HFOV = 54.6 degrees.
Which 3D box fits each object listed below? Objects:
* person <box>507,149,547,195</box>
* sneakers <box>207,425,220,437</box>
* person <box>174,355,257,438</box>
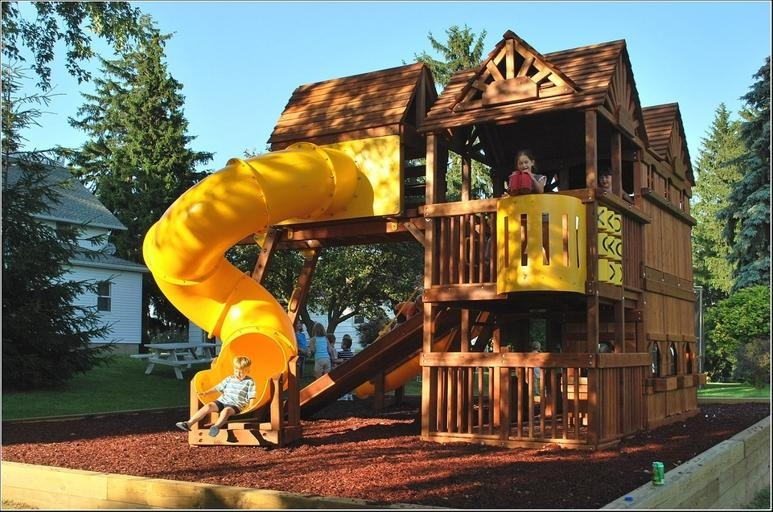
[{"bbox_3d":[2.779,-1.647,14.775,0.538,1.171,1.269,-2,-11,19],"label":"person"},{"bbox_3d":[-3.233,3.238,13.932,0.214,0.213,0.147,1,-10,-1],"label":"sneakers"},{"bbox_3d":[-3.081,2.531,13.932,0.973,1.174,1.663,5,9,22],"label":"person"}]
